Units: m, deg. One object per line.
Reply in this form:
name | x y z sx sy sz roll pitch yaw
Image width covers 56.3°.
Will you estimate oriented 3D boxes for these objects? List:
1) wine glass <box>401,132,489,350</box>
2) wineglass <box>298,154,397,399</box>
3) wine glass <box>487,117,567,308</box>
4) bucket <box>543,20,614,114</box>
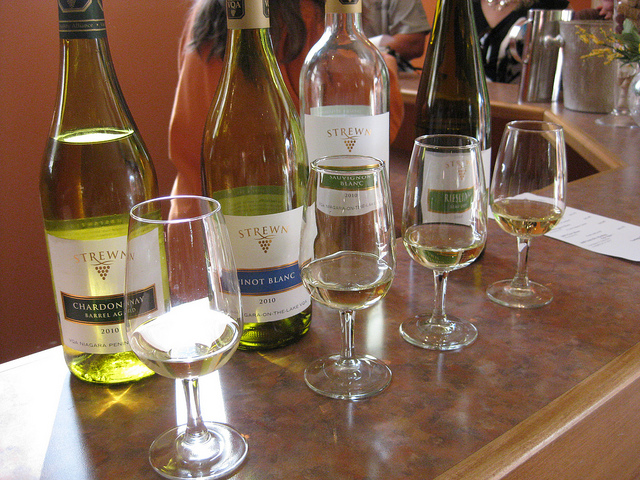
wine glass | 0.170 -0.009 0.820 0.117 0.261 0.191 4 26 23
wineglass | 0.031 0.036 0.731 0.133 0.270 0.166 5 26 24
wine glass | 0.322 -0.059 0.936 0.111 0.238 0.260 1 24 16
bucket | 0.833 -0.614 1.974 0.216 0.329 0.225 3 -3 0
